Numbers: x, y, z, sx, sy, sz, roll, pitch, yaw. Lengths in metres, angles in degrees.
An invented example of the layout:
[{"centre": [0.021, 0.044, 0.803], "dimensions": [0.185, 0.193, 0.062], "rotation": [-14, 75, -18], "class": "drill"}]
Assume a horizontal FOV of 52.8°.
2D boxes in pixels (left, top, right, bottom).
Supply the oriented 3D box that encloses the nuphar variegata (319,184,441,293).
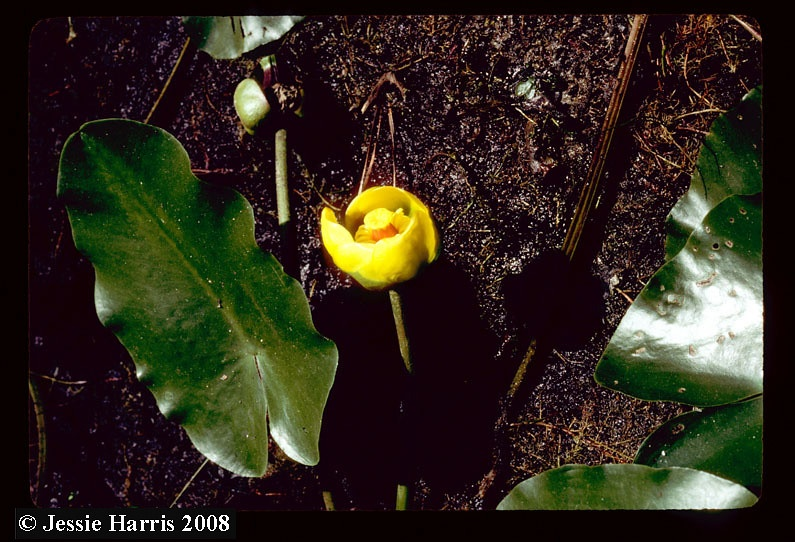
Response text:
[{"centre": [-0.026, -0.029, 1.208], "dimensions": [0.120, 0.144, 0.099], "rotation": [-18, 96, -37], "class": "nuphar variegata"}]
